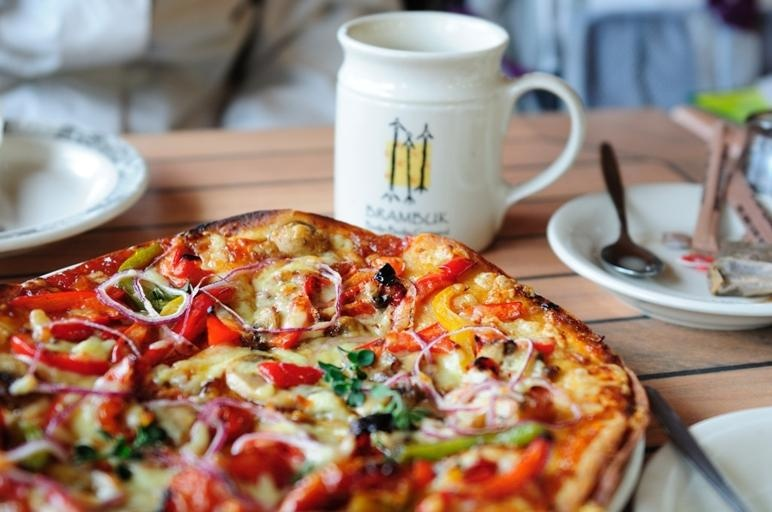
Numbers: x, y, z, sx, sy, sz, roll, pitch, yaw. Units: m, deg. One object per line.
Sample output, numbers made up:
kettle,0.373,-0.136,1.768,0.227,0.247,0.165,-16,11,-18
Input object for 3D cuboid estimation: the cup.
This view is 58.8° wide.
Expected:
cup,0.082,-0.262,1.303,0.511,0.417,0.320,5,26,-1

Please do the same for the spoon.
spoon,0.416,-0.087,1.208,0.079,0.038,0.270,5,49,-5
